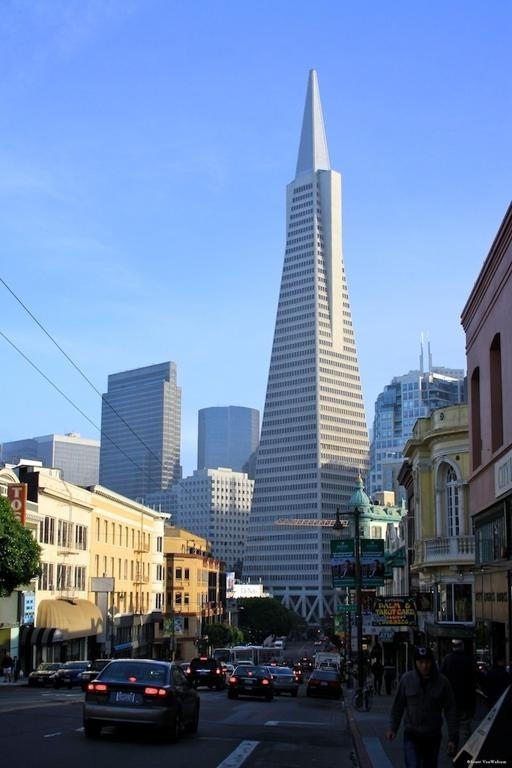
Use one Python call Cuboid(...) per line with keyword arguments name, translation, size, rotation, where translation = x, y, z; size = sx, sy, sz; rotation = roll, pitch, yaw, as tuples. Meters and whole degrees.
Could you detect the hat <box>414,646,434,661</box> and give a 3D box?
Cuboid(name="hat", translation=(1.618, 2.590, 9.635), size=(0.122, 0.167, 0.194), rotation=(-1, -20, 3))
